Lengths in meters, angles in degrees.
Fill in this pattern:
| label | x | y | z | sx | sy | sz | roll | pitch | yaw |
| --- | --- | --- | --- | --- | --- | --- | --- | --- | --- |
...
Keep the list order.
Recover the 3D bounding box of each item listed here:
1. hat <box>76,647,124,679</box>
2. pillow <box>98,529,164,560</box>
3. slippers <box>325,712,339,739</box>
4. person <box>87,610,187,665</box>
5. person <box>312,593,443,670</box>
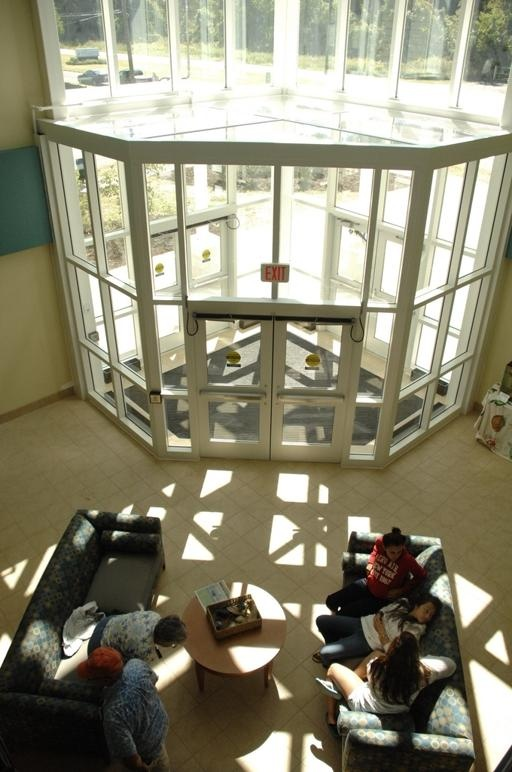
| label | x | y | z | sx | sy | sz | roll | pitch | yaw |
| --- | --- | --- | --- | --- | --- | --- | --- | --- | --- |
| hat | -0.886 | 1.578 | 2.986 | 0.230 | 0.128 | 0.161 | 5 | 46 | -3 |
| pillow | -1.181 | 1.504 | 4.972 | 0.459 | 0.314 | 0.258 | 2 | 62 | -2 |
| slippers | 0.579 | 2.585 | 3.968 | 0.064 | 0.074 | 0.192 | -5 | 55 | -4 |
| person | -0.828 | 1.693 | 3.544 | 0.776 | 0.427 | 0.312 | -14 | 45 | 26 |
| person | 0.939 | 1.840 | 3.930 | 0.451 | 0.770 | 0.334 | 34 | 25 | -36 |
